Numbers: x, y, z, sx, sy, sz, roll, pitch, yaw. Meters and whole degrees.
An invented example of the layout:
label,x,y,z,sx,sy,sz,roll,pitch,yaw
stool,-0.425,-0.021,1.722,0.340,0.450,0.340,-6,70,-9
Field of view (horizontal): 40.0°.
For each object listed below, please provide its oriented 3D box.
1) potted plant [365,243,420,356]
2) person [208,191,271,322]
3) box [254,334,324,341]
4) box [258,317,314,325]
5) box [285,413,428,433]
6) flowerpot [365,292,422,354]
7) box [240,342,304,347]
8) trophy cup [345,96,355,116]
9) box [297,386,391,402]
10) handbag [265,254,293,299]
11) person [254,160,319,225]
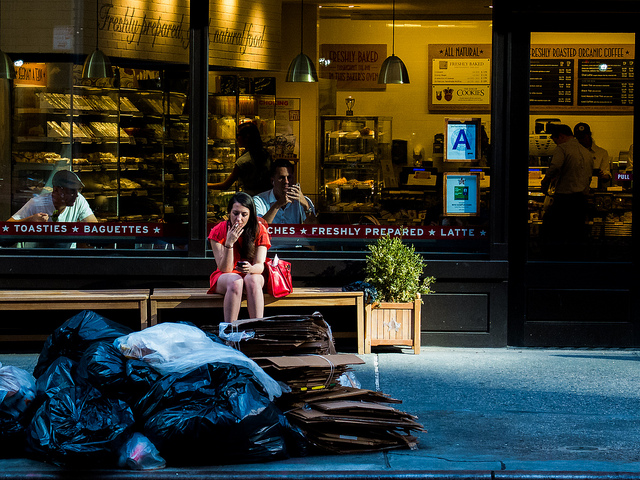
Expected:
label,x,y,z,sx,sy,sz,roll,pitch,yaw
potted plant,0.775,0.642,9.416,0.572,1.140,0.395,2,10,3
person,-0.831,0.159,9.008,0.627,1.264,0.558,0,10,-8
box,-0.312,0.814,7.394,0.480,0.049,0.046,-1,10,-13
box,-0.302,0.680,7.477,0.467,0.048,0.044,-1,10,-16
box,0.269,1.425,6.780,1.093,0.134,0.158,1,9,-2
flowerpot,0.771,0.882,9.336,0.605,0.576,0.589,1,2,2
box,-0.410,0.875,7.349,0.526,0.030,0.046,0,9,-6
trophy cup,0.341,-1.535,10.056,0.099,0.213,0.058,0,10,-6
box,0.165,1.238,7.026,0.702,0.068,0.157,0,9,-9
handbag,-0.440,0.398,9.207,0.207,0.402,0.424,-17,-11,24
person,-0.382,-0.548,10.030,0.704,0.698,0.220,1,10,-4
